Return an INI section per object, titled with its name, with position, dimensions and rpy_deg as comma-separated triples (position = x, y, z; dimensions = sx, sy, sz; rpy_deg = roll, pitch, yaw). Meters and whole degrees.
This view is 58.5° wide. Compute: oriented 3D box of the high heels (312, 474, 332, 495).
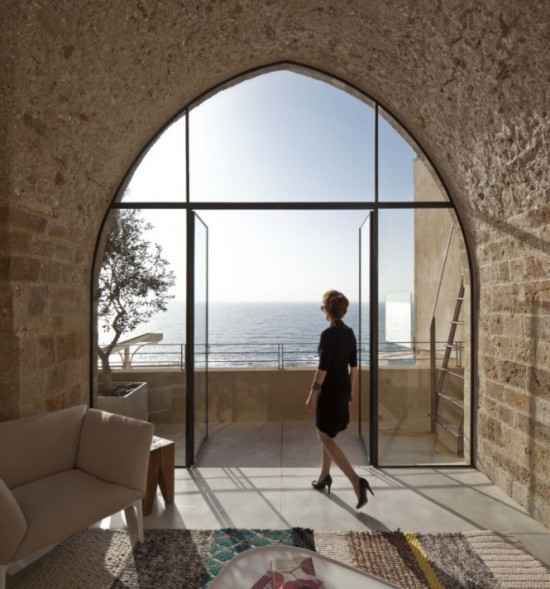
[high heels]
position = 0.352, 1.410, 3.655
dimensions = 0.062, 0.139, 0.221
rpy_deg = 5, -9, -21

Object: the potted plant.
[potted plant]
position = -1.191, -0.086, 5.016
dimensions = 1.017, 2.181, 0.966
rpy_deg = 2, 1, -7

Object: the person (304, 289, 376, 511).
[person]
position = 0.463, 0.724, 3.571
dimensions = 0.459, 1.489, 0.529
rpy_deg = 0, 2, 12
